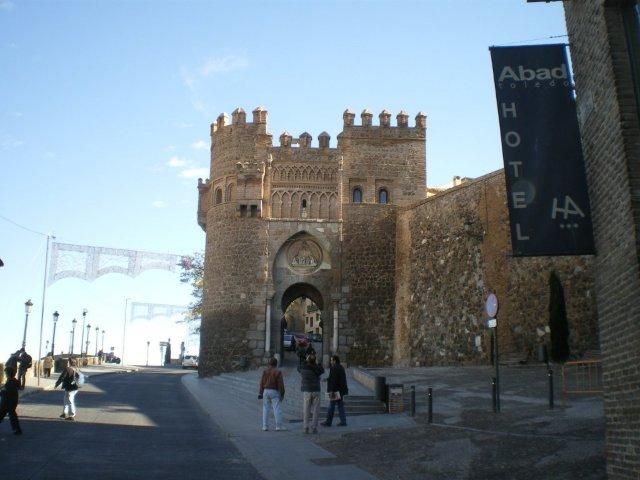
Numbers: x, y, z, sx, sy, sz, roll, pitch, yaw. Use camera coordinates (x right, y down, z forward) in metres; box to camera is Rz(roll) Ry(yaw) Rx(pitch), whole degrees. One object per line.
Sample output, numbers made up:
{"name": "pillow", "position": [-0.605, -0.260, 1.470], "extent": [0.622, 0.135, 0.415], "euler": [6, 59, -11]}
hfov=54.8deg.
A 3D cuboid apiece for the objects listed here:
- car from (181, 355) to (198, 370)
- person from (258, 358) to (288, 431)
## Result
{"name": "car", "position": [-10.738, 10.180, 51.124], "extent": [1.164, 1.069, 1.838], "euler": [1, -11, -18]}
{"name": "person", "position": [-1.144, 3.626, 14.426], "extent": [0.533, 1.647, 0.794], "euler": [-1, -10, -4]}
